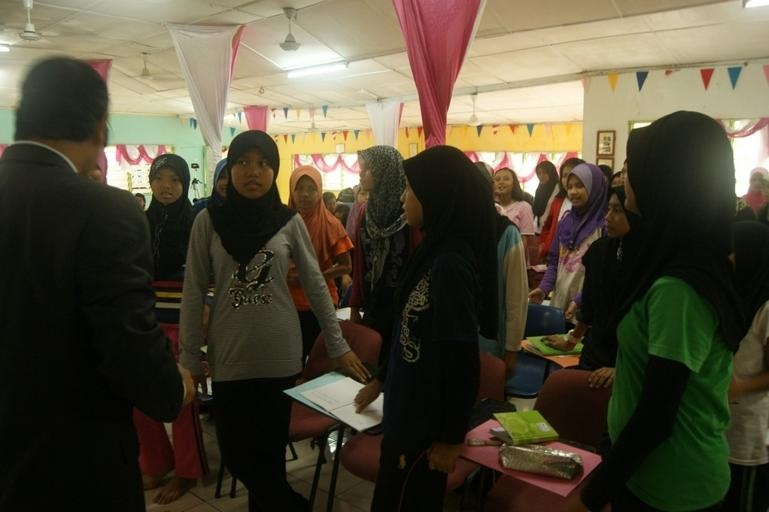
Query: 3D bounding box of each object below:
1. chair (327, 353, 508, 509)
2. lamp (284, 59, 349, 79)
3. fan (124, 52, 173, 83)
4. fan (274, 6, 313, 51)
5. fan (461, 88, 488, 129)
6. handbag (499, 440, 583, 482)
[{"bbox_3d":[0.170,0.783,3.037,0.732,0.744,0.661,32,-13,-35],"label":"chair"},{"bbox_3d":[-0.926,-2.544,8.252,0.906,0.136,0.096,-1,-30,8],"label":"lamp"},{"bbox_3d":[-3.356,-2.689,8.709,0.425,0.390,0.430,-2,-3,37],"label":"fan"},{"bbox_3d":[-1.003,-2.410,6.415,0.357,0.463,0.320,0,2,2],"label":"fan"},{"bbox_3d":[1.500,-2.464,10.130,0.430,0.734,0.429,-1,0,28],"label":"fan"},{"bbox_3d":[0.570,0.756,2.218,0.209,0.064,0.132,1,0,25],"label":"handbag"}]
